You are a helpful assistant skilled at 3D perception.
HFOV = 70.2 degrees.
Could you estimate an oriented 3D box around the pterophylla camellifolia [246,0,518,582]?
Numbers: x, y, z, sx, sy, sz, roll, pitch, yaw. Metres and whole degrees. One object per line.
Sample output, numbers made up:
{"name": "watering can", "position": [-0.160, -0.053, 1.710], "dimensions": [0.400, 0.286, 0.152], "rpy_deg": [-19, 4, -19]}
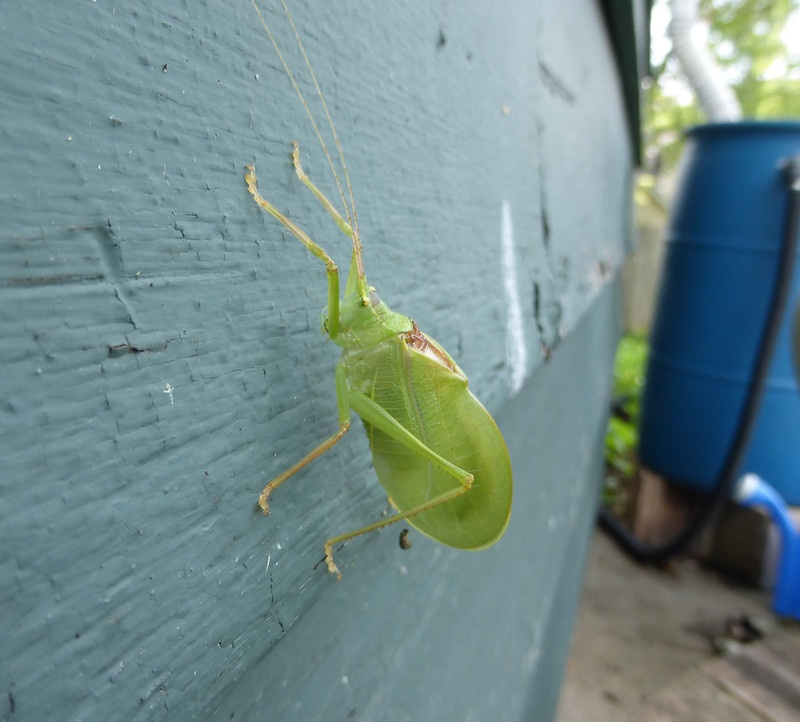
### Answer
{"name": "pterophylla camellifolia", "position": [0.005, -0.111, 1.002], "dimensions": [0.240, 0.836, 0.430], "rpy_deg": [-2, 12, 3]}
